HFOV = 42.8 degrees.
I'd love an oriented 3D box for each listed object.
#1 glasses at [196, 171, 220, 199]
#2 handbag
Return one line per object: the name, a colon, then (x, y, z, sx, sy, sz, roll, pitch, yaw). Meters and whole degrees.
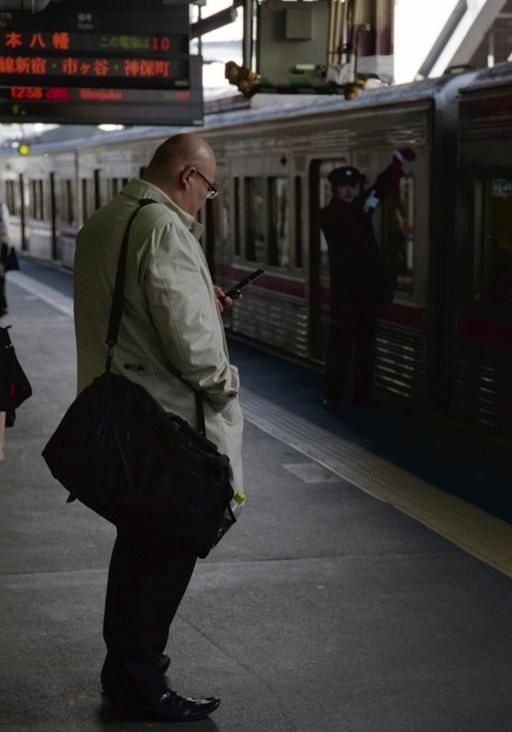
glasses: (-0.115, -0.455, 1.651, 0.019, 0.072, 0.067, -9, 6, -14)
handbag: (-0.271, 0.226, 1.539, 0.435, 0.337, 0.155, 44, -10, -6)
